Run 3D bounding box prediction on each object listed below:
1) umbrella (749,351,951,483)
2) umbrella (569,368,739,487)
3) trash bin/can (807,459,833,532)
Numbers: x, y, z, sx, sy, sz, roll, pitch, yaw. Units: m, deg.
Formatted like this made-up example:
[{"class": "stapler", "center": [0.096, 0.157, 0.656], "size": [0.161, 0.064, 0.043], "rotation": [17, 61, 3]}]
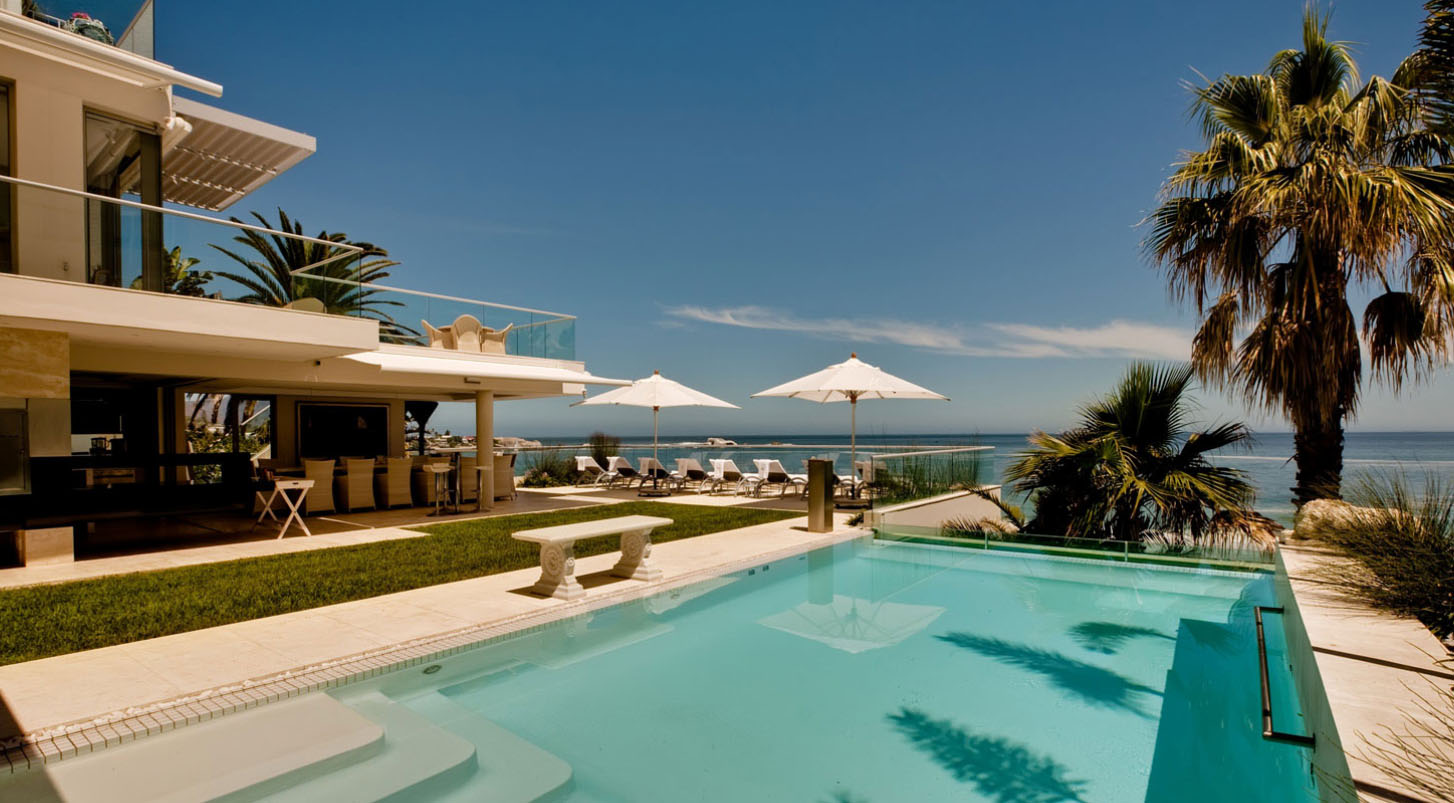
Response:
[{"class": "umbrella", "center": [3.490, 0.155, 25.016], "size": [3.419, 3.094, 2.839], "rotation": [-8, 14, -39]}, {"class": "umbrella", "center": [-2.583, 0.783, 30.035], "size": [3.764, 3.834, 5.769], "rotation": [-1, 11, -8]}, {"class": "trash bin/can", "center": [2.316, 2.314, 21.691], "size": [0.612, 1.720, 0.823], "rotation": [1, 12, 3]}]
